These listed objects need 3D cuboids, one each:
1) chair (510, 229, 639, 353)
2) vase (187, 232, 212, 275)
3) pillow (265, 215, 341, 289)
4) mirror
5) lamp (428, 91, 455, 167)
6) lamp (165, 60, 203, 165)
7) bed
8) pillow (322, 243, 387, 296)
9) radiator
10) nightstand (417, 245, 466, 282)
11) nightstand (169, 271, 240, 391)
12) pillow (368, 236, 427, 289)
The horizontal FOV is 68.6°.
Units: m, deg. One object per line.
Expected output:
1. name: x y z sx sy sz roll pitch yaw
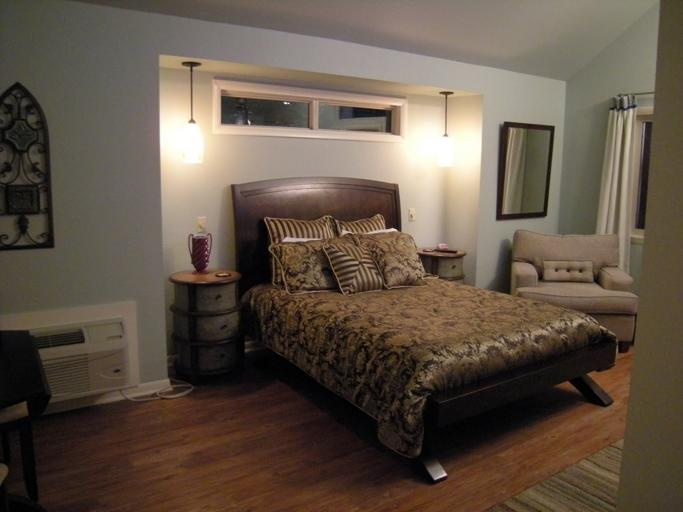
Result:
1. chair: 2.379 0.337 5.103 1.294 1.098 1.211 -1 8 -11
2. vase: -1.218 -0.019 4.319 0.207 0.366 0.391 -4 14 -15
3. pillow: -0.360 -0.016 4.411 0.629 0.211 0.693 3 52 -10
4. mirror: 2.086 -1.012 5.739 1.031 1.204 0.092 -7 12 -35
5. lamp: 1.141 -1.374 5.507 0.232 0.817 0.439 3 14 12
6. lamp: -1.276 -1.180 4.199 0.302 0.830 0.313 -10 17 -34
7. bed: 0.507 0.192 4.259 1.871 1.793 2.886 -8 12 -33
8. pillow: 0.099 0.078 4.246 0.458 0.436 0.138 -2 -25 -47
9. radiator: -1.898 0.751 3.697 0.622 0.550 0.327 -9 13 -19
10. nightstand: 1.081 0.082 5.399 0.298 0.282 0.486 -6 9 -31
11. nightstand: -1.136 0.566 4.255 0.618 0.825 0.580 -7 12 -40
12. pillow: 0.490 0.058 4.539 0.466 0.472 0.140 -6 -22 -41
